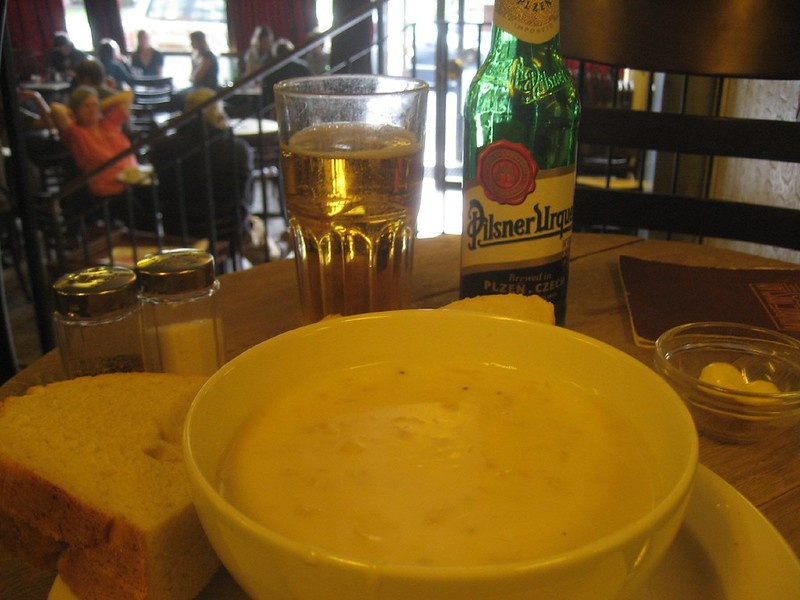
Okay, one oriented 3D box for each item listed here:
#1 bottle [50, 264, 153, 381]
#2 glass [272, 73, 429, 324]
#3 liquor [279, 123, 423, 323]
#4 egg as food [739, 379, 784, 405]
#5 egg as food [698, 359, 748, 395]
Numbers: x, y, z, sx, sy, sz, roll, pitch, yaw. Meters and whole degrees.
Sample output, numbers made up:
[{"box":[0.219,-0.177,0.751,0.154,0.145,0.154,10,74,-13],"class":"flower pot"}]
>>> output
[{"box":[-0.308,0.030,0.698,0.086,0.108,0.134,-14,24,-30],"class":"bottle"},{"box":[-0.050,-0.105,0.792,0.146,0.299,0.145,-17,26,-34],"class":"glass"},{"box":[-0.039,-0.105,0.824,0.196,0.284,0.191,-5,23,-11],"class":"liquor"},{"box":[0.339,0.080,0.636,0.030,0.017,0.030,-4,8,-11],"class":"egg as food"},{"box":[0.324,0.073,0.685,0.034,0.033,0.044,-14,8,-28],"class":"egg as food"}]
